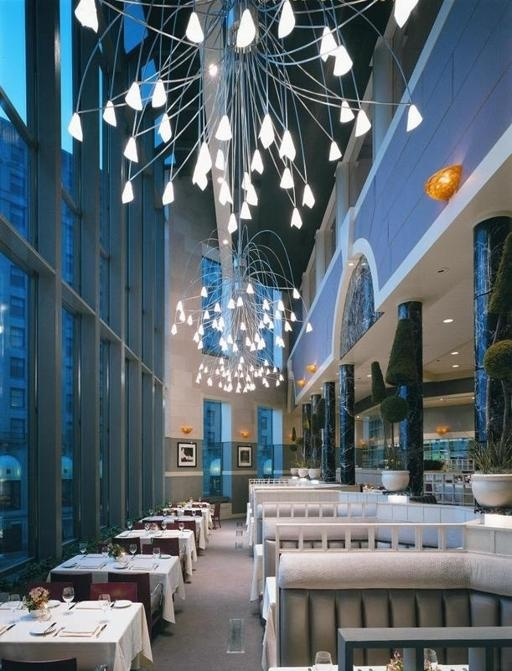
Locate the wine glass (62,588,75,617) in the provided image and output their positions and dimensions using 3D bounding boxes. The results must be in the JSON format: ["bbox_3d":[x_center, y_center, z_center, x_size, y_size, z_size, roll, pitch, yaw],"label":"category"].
[{"bbox_3d":[-1.275,1.779,3.716,0.075,0.161,0.382,2,-18,-18],"label":"wine glass"}]

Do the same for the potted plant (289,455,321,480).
[{"bbox_3d":[1.581,4.268,17.614,0.963,0.549,1.263,2,-10,-4],"label":"potted plant"}]

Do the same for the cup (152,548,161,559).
[{"bbox_3d":[-1.100,2.382,5.975,0.061,0.151,0.067,-2,-5,38],"label":"cup"}]

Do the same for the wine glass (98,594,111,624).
[{"bbox_3d":[-1.002,1.807,3.598,0.056,0.213,0.066,-1,-4,6],"label":"wine glass"}]

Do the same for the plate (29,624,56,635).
[{"bbox_3d":[-1.254,1.726,3.197,0.134,0.026,0.210,4,-20,-23],"label":"plate"}]

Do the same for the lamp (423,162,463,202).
[{"bbox_3d":[1.675,-1.337,4.859,0.206,0.158,0.282,-5,-17,4],"label":"lamp"}]
